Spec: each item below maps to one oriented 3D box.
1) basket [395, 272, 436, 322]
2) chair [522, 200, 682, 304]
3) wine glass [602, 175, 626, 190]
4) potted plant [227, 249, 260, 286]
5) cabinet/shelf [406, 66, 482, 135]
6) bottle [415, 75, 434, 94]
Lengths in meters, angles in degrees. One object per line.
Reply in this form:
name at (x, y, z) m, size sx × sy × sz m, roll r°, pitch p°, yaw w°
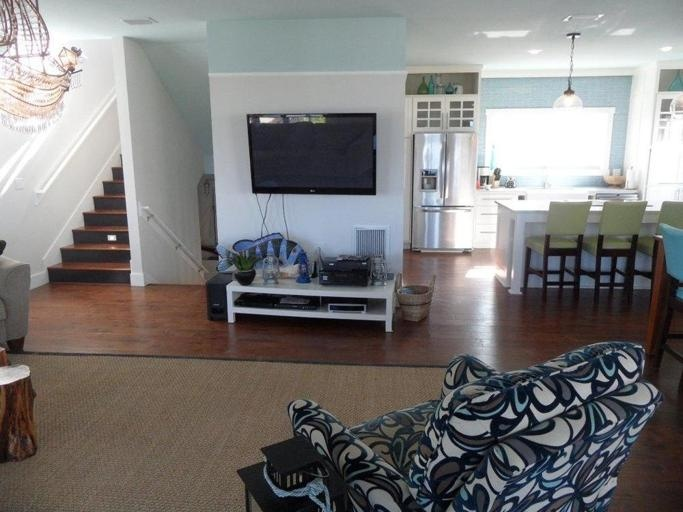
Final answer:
basket at (0.721, 0.419, 5.171) m, size 0.472 × 0.448 × 0.408 m, roll 0°, pitch 5°, yaw -2°
chair at (2.810, -0.110, 5.669) m, size 1.503 × 1.011 × 0.656 m, roll -1°, pitch 6°, yaw 5°
wine glass at (4.397, -1.181, 8.164) m, size 0.234 × 0.121 × 0.229 m, roll 0°, pitch 3°, yaw 4°
potted plant at (-0.950, 0.098, 5.065) m, size 0.364 × 0.372 × 0.311 m, roll -1°, pitch 3°, yaw 4°
cabinet/shelf at (1.570, -2.379, 7.780) m, size 1.193 × 1.042 × 0.454 m, roll 0°, pitch 9°, yaw 3°
bottle at (1.300, -2.679, 7.904) m, size 0.286 × 0.390 × 0.214 m, roll 11°, pitch 23°, yaw 32°
